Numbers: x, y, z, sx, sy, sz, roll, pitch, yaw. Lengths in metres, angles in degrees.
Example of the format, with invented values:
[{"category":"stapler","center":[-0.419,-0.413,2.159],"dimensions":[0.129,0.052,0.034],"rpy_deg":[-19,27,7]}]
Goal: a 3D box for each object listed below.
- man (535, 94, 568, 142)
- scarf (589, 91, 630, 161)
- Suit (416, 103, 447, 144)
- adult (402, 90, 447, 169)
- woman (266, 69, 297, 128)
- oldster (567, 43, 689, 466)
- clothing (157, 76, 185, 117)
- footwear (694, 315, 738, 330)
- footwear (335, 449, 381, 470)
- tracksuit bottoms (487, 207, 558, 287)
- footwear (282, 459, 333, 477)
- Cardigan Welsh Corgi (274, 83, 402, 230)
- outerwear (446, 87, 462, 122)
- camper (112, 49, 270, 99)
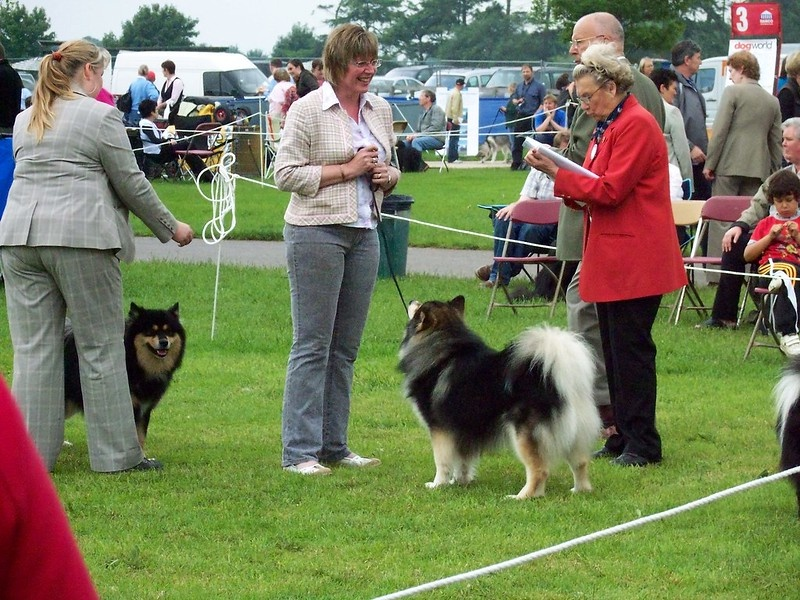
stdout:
[{"category":"man","center":[2.803,-3.295,25.257],"dimensions":[0.708,0.963,0.713],"rpy_deg":[-5,9,-33]},{"category":"scarf","center":[1.453,-1.218,9.569],"dimensions":[0.176,0.377,0.267],"rpy_deg":[25,-5,-24]},{"category":"Suit","center":[0.629,-3.311,25.706],"dimensions":[0.550,0.814,0.892],"rpy_deg":[1,2,-4]},{"category":"adult","center":[0.429,-3.198,26.202],"dimensions":[0.926,1.714,0.741],"rpy_deg":[0,-3,-16]},{"category":"woman","center":[-2.182,-3.520,24.578],"dimensions":[0.449,1.502,0.592],"rpy_deg":[8,36,-8]},{"category":"oldster","center":[1.585,-0.318,9.772],"dimensions":[0.862,2.934,0.893],"rpy_deg":[1,4,20]},{"category":"clothing","center":[-4.320,-3.741,25.382],"dimensions":[0.563,0.816,0.601],"rpy_deg":[5,5,13]},{"category":"footwear","center":[3.102,0.241,13.308],"dimensions":[0.399,0.174,0.153],"rpy_deg":[5,-5,6]},{"category":"footwear","center":[-0.295,1.155,9.933],"dimensions":[0.305,0.115,0.119],"rpy_deg":[-3,0,7]},{"category":"tracksuit bottoms","center":[1.236,-0.572,14.497],"dimensions":[0.717,0.999,0.759],"rpy_deg":[3,1,15]},{"category":"footwear","center":[-0.644,1.182,9.647],"dimensions":[0.321,0.135,0.126],"rpy_deg":[-2,-1,19]},{"category":"Cardigan Welsh Corgi","center":[-0.394,-1.042,9.672],"dimensions":[1.000,1.031,0.571],"rpy_deg":[-1,-2,-29]},{"category":"outerwear","center":[1.211,-4.287,30.155],"dimensions":[0.367,0.777,0.775],"rpy_deg":[-1,5,2]},{"category":"camper","center":[-4.620,-4.460,29.713],"dimensions":[3.147,1.803,1.561],"rpy_deg":[-1,5,-4]}]
